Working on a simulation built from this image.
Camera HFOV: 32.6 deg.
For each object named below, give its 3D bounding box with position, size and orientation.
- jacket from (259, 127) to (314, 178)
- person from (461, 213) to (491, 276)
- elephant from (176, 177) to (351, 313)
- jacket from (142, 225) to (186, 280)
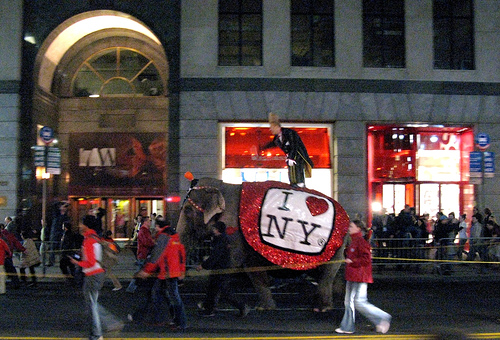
[{"bbox_3d":[1.427,-0.647,30.366,1.509,1.780,0.619,-1,-3,6],"label":"jacket"},{"bbox_3d":[9.490,2.766,35.351,1.483,1.865,0.938,-8,-3,36],"label":"person"},{"bbox_3d":[-0.107,2.686,29.827,8.360,4.145,2.947,4,-10,-24],"label":"elephant"},{"bbox_3d":[-2.743,2.691,28.384,1.269,1.823,2.217,0,10,9],"label":"jacket"}]
